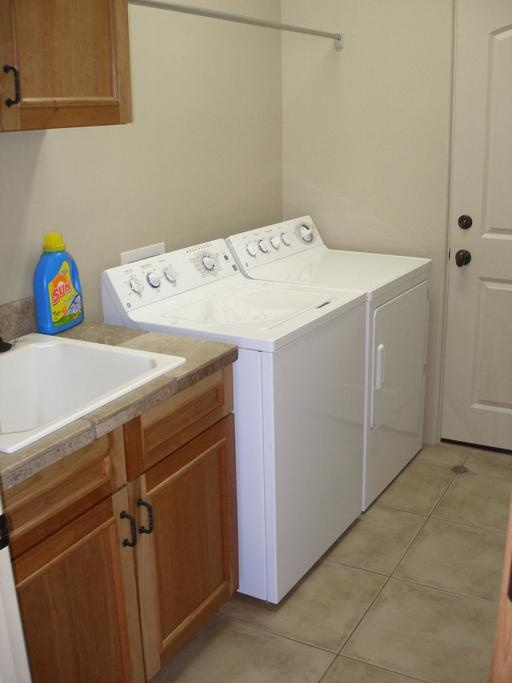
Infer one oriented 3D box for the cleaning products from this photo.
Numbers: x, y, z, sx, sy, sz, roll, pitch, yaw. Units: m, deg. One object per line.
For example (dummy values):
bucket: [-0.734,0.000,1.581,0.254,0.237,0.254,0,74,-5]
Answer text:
cleaning products: [-0.588,-0.166,1.597,0.117,0.303,0.112,11,17,40]
